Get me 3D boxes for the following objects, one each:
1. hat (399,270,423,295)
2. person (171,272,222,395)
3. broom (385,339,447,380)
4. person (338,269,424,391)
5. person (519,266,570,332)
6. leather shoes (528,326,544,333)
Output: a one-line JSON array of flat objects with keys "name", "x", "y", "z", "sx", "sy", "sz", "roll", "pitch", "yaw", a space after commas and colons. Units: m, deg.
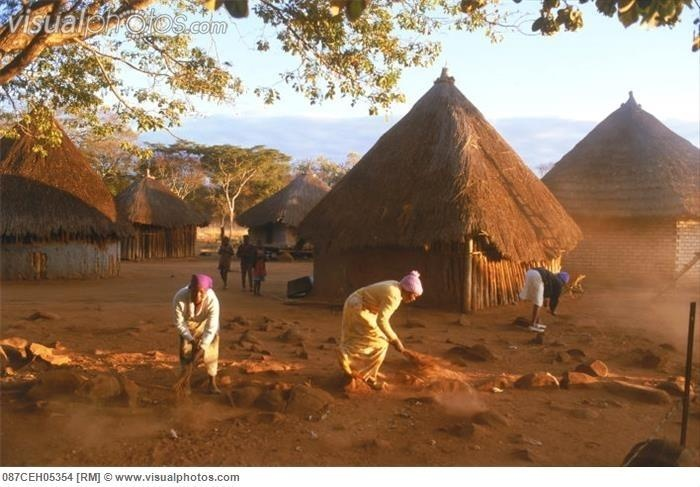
[{"name": "hat", "x": 0.768, "y": 0.557, "z": 7.297, "sx": 0.261, "sy": 0.299, "sz": 0.337, "roll": 1, "pitch": 7, "yaw": 4}, {"name": "person", "x": -2.002, "y": 1.145, "z": 7.093, "sx": 0.545, "sy": 1.532, "sz": 0.719, "roll": -1, "pitch": 7, "yaw": -18}, {"name": "broom", "x": 0.813, "y": 1.706, "z": 8.145, "sx": 0.351, "sy": 0.455, "sz": 1.512, "roll": -3, "pitch": -1, "yaw": -25}, {"name": "person", "x": 0.356, "y": 1.115, "z": 7.542, "sx": 1.015, "sy": 1.587, "sz": 0.962, "roll": 7, "pitch": 4, "yaw": -9}, {"name": "person", "x": 3.626, "y": 1.078, "z": 10.639, "sx": 0.585, "sy": 1.149, "sz": 1.102, "roll": 7, "pitch": 9, "yaw": 42}, {"name": "leather shoes", "x": 3.423, "y": 1.634, "z": 10.254, "sx": 0.312, "sy": 0.134, "sz": 0.119, "roll": 0, "pitch": 16, "yaw": -5}]
